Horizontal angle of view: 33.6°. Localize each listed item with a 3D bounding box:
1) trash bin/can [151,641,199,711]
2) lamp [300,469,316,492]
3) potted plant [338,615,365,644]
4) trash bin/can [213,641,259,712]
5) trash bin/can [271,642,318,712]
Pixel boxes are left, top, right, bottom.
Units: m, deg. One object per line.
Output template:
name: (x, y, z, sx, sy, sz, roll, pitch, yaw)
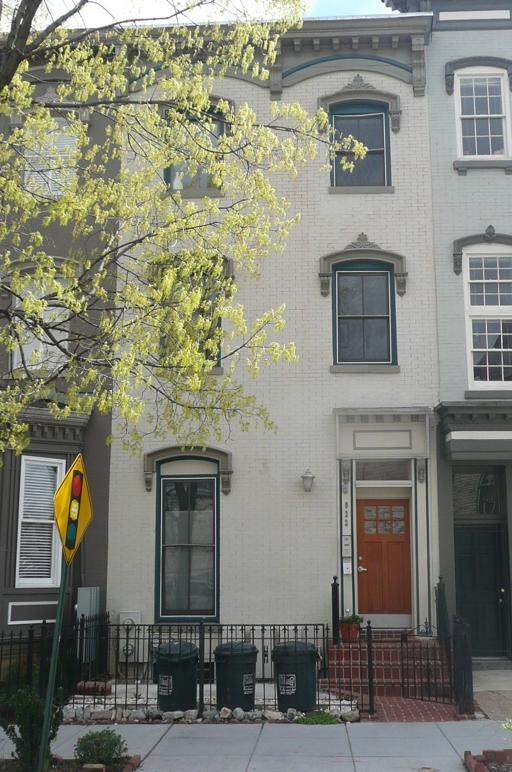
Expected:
trash bin/can: (-0.973, 3.533, 10.344, 0.635, 0.922, 0.672, 2, -21, -10)
lamp: (0.832, 1.514, 13.564, 0.208, 0.350, 0.227, -1, -12, 3)
potted plant: (1.422, 3.596, 12.618, 0.339, 0.420, 0.393, 2, -9, -5)
trash bin/can: (-0.236, 3.459, 10.135, 0.549, 0.827, 0.675, 2, -14, -8)
trash bin/can: (0.470, 3.458, 10.144, 0.538, 0.792, 0.296, 0, -12, 2)
